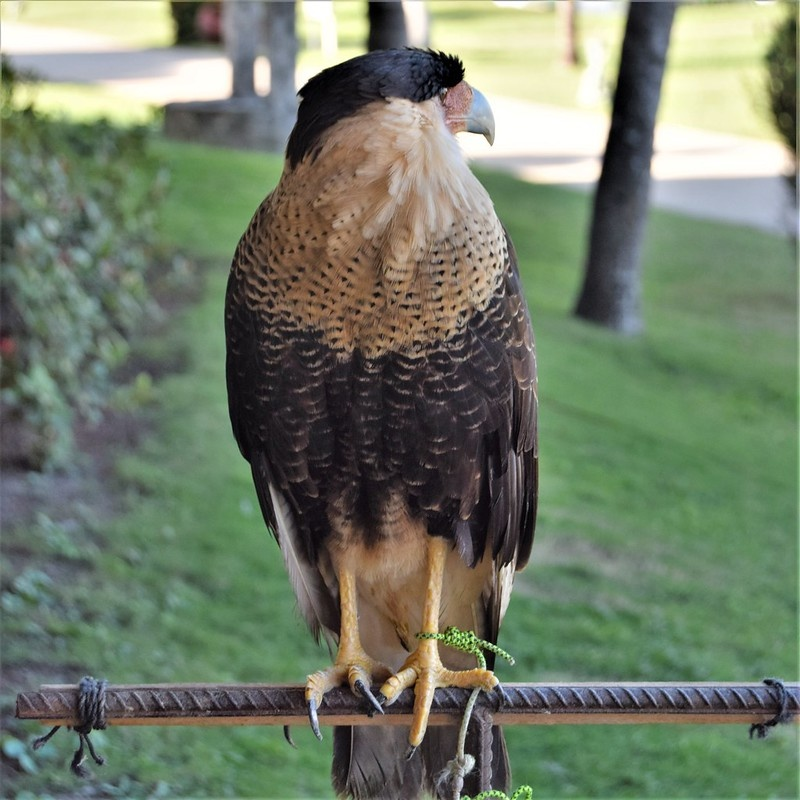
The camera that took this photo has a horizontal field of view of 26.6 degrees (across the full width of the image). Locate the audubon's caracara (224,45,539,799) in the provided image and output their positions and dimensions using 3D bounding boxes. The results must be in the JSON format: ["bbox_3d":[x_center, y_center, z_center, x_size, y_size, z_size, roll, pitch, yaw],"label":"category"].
[{"bbox_3d":[-0.023,-0.010,3.271,0.640,1.306,0.377,1,10,-6],"label":"audubon's caracara"}]
